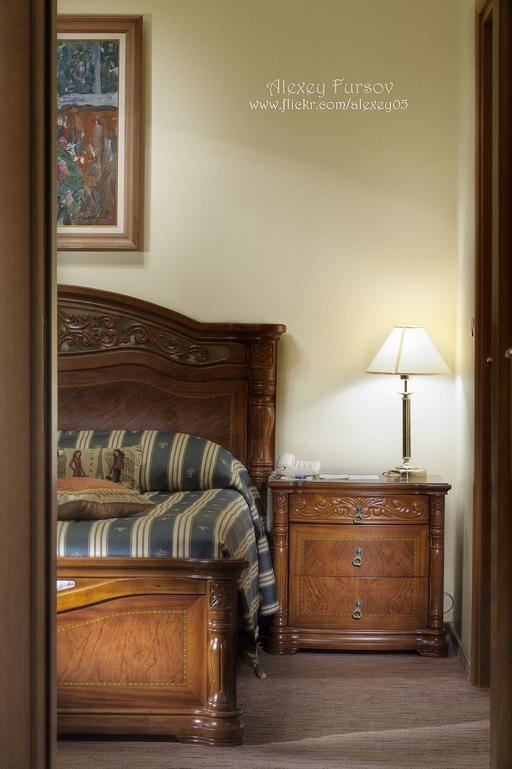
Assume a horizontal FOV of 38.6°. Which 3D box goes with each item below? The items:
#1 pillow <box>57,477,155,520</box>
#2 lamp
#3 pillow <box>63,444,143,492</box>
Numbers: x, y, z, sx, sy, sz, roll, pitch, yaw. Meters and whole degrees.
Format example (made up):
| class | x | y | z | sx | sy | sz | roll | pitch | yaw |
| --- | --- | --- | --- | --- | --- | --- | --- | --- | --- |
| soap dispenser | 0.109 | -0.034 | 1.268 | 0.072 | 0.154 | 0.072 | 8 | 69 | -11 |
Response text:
| class | x | y | z | sx | sy | sz | roll | pitch | yaw |
| --- | --- | --- | --- | --- | --- | --- | --- | --- | --- |
| pillow | -0.513 | 0.384 | 2.494 | 0.322 | 0.111 | 0.425 | 1 | -3 | -13 |
| lamp | 0.680 | 0.079 | 3.276 | 0.360 | 0.666 | 0.357 | 0 | -3 | 12 |
| pillow | -0.608 | 0.334 | 2.881 | 0.252 | 0.050 | 0.165 | -1 | 34 | -5 |
